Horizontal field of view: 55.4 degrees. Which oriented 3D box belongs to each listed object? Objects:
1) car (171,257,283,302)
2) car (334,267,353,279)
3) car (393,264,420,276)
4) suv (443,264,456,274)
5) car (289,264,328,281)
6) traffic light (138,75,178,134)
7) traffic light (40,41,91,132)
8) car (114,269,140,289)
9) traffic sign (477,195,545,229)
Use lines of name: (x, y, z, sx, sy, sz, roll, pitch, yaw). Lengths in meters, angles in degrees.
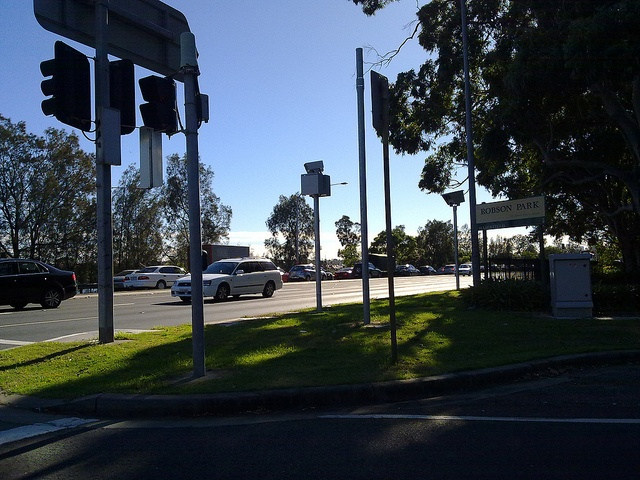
car: (-3.320, 1.679, 24.746, 1.049, 1.763, 4.467, 3, 6, 35)
car: (2.471, 3.439, 63.723, 1.795, 1.035, 2.374, -1, 5, 0)
car: (10.794, 3.731, 74.986, 1.396, 1.206, 3.445, 3, 5, 41)
suv: (17.770, 4.004, 83.878, 1.365, 1.569, 5.199, 0, 5, 8)
car: (-1.555, 2.981, 54.331, 2.262, 1.393, 2.362, -4, 6, -35)
traffic light: (-2.674, -2.303, 10.299, 0.508, 1.106, 0.516, -9, -12, 19)
traffic light: (-4.753, -2.985, 11.363, 0.851, 1.446, 0.328, -3, 5, -26)
car: (-12.181, 2.486, 38.370, 1.196, 1.044, 2.869, -1, 2, -6)
traffic sign: (6.165, -0.871, 19.689, 0.413, 1.158, 2.722, -3, 6, -30)
